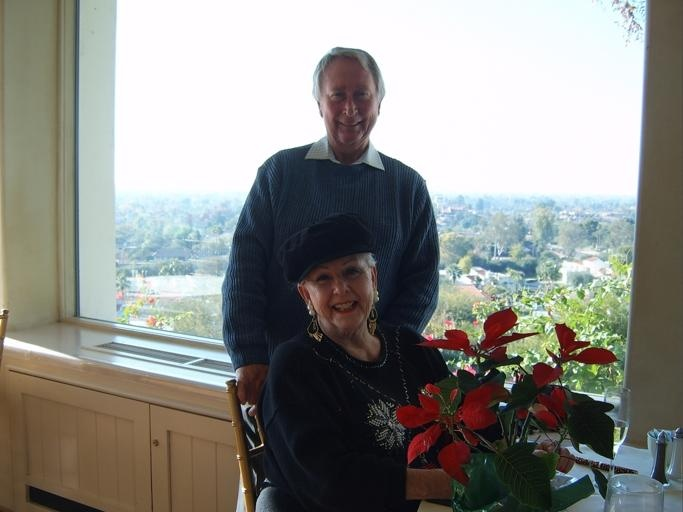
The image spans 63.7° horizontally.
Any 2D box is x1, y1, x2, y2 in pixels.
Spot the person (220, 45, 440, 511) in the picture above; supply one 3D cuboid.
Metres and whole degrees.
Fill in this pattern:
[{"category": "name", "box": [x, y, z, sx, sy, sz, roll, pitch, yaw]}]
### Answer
[{"category": "person", "box": [0.003, 0.227, 2.034, 0.812, 1.970, 0.662, -1, 2, -16]}]
